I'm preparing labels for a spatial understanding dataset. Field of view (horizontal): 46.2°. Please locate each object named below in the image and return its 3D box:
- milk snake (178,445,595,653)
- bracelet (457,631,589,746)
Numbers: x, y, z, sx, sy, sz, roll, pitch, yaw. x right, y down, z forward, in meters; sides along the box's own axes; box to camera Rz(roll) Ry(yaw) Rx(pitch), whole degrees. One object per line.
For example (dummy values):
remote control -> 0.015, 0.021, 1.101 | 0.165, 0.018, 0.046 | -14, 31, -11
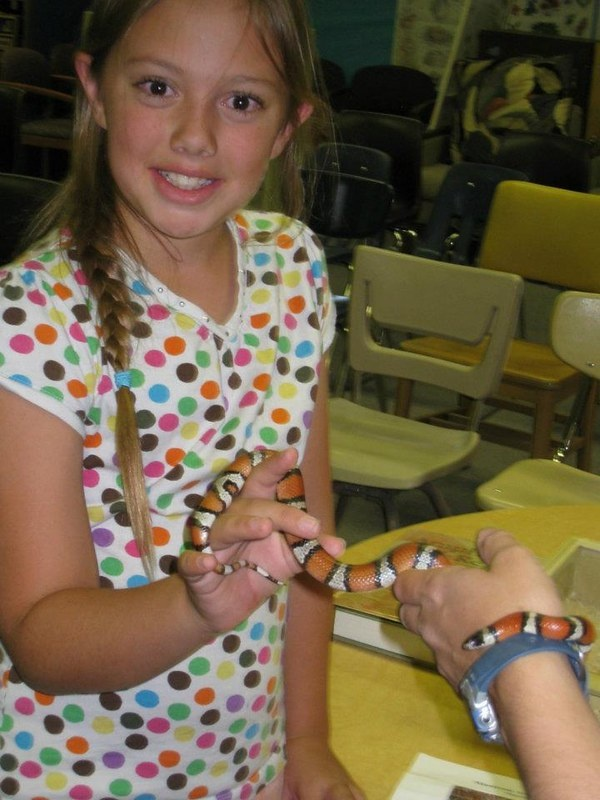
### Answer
milk snake -> 0.080, 0.181, 0.864 | 0.505, 0.107, 0.217 | 23, 37, 6
bracelet -> 0.221, 0.281, 0.680 | 0.122, 0.137, 0.057 | 2, 27, -6
